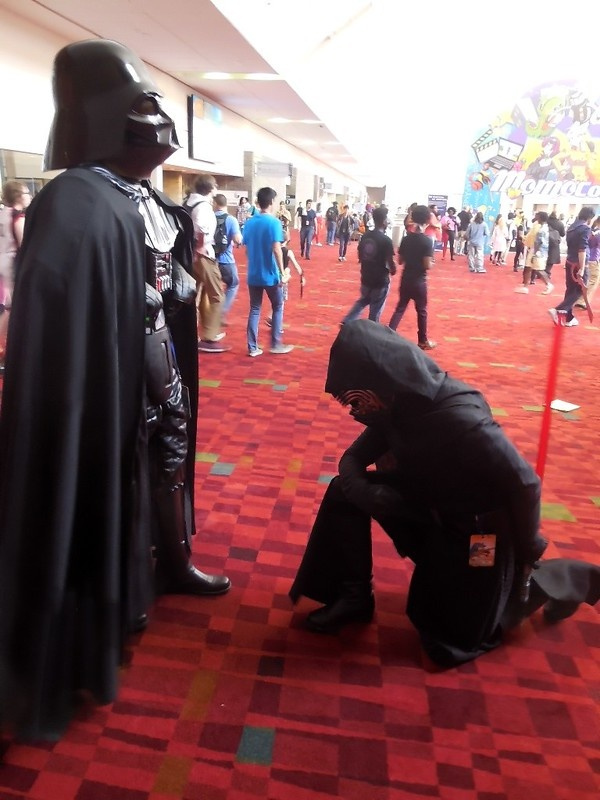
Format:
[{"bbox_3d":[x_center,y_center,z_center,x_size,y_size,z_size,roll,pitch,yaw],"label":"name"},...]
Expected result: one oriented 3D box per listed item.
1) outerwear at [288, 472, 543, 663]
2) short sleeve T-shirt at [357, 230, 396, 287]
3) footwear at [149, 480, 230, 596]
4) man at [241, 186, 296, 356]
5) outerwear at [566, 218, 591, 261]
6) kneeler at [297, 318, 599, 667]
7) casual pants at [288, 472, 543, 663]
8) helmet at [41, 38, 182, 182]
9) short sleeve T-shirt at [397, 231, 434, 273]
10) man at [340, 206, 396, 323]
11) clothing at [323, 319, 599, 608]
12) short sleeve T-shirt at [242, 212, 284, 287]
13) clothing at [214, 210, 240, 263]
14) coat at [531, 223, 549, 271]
[{"bbox_3d":[0.350,0.381,2.051,0.799,1.010,0.470,7,22,9],"label":"outerwear"},{"bbox_3d":[0.817,-1.507,5.619,0.412,0.596,0.320,5,13,10],"label":"short sleeve T-shirt"},{"bbox_3d":[-0.365,0.489,1.831,0.282,0.372,0.115,0,-3,-4],"label":"footwear"},{"bbox_3d":[-0.312,-1.270,5.296,0.508,1.597,0.474,-1,16,-6],"label":"man"},{"bbox_3d":[3.870,-2.207,7.305,0.224,0.559,0.430,2,13,-1],"label":"outerwear"},{"bbox_3d":[0.380,0.190,2.008,1.303,1.312,0.629,2,14,2],"label":"kneeler"},{"bbox_3d":[0.357,0.356,2.022,0.799,1.010,0.470,7,22,9],"label":"casual pants"},{"bbox_3d":[-0.373,-0.682,1.253,0.331,0.329,0.243,-2,28,-7],"label":"helmet"},{"bbox_3d":[1.253,-1.593,5.722,0.356,0.461,0.258,6,14,14],"label":"short sleeve T-shirt"},{"bbox_3d":[0.780,-1.418,5.880,0.575,1.483,0.475,7,41,11],"label":"man"},{"bbox_3d":[0.492,0.246,1.575,0.848,0.931,0.409,3,13,2],"label":"clothing"},{"bbox_3d":[-0.360,-1.458,5.102,0.418,0.696,0.279,5,14,11],"label":"short sleeve T-shirt"},{"bbox_3d":[-0.737,-1.803,5.563,0.267,0.258,0.162,-13,43,-21],"label":"clothing"},{"bbox_3d":[4.452,-2.873,9.761,0.227,0.371,0.852,-3,-23,11],"label":"coat"}]
